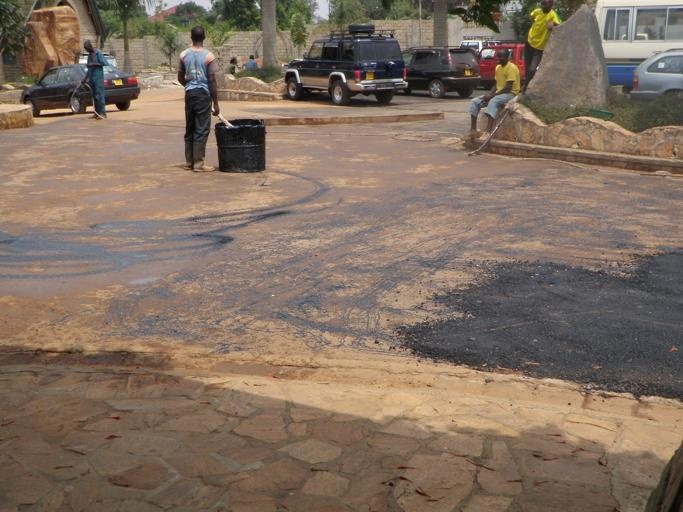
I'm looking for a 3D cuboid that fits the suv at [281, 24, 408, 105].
[{"bbox_3d":[0.212,-7.397,23.432,2.921,1.974,4.760,-16,24,-31],"label":"suv"}]

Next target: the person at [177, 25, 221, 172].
[{"bbox_3d":[-2.440,-2.678,10.229,0.637,2.435,0.886,-4,19,-11],"label":"person"}]

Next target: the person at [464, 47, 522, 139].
[{"bbox_3d":[3.422,-3.574,13.181,1.057,1.968,1.157,3,18,10],"label":"person"}]

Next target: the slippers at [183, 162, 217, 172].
[{"bbox_3d":[-2.499,-1.556,10.483,0.424,0.108,0.215,-3,4,-6],"label":"slippers"}]
